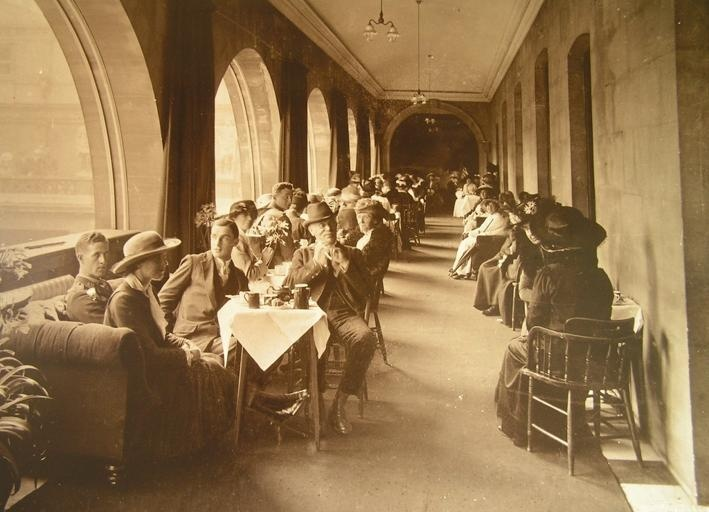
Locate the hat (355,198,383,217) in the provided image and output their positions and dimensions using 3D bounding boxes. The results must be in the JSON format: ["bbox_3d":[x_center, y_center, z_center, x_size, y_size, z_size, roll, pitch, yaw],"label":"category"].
[{"bbox_3d":[0.149,-0.596,7.831,0.357,0.177,0.437,2,1,7],"label":"hat"}]

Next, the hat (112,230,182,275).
[{"bbox_3d":[-1.706,-0.042,5.295,0.471,0.172,0.431,-29,7,-5],"label":"hat"}]

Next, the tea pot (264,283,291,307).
[{"bbox_3d":[-0.656,0.331,5.583,0.197,0.205,0.155,0,2,9],"label":"tea pot"}]

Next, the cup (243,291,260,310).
[{"bbox_3d":[-0.835,0.361,5.462,0.145,0.136,0.090,3,1,11],"label":"cup"}]

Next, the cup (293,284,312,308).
[{"bbox_3d":[-0.439,0.333,5.433,0.177,0.202,0.122,0,-3,-21],"label":"cup"}]

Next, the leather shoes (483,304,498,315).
[{"bbox_3d":[1.778,0.709,8.571,0.209,0.097,0.087,1,1,37],"label":"leather shoes"}]

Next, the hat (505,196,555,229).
[{"bbox_3d":[1.960,-0.493,7.363,0.537,0.253,0.596,-20,8,12],"label":"hat"}]

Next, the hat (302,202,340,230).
[{"bbox_3d":[-0.301,-0.378,5.986,0.266,0.128,0.320,-23,-4,9],"label":"hat"}]

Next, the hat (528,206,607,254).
[{"bbox_3d":[1.709,-0.206,5.509,0.516,0.252,0.549,12,-7,-42],"label":"hat"}]
